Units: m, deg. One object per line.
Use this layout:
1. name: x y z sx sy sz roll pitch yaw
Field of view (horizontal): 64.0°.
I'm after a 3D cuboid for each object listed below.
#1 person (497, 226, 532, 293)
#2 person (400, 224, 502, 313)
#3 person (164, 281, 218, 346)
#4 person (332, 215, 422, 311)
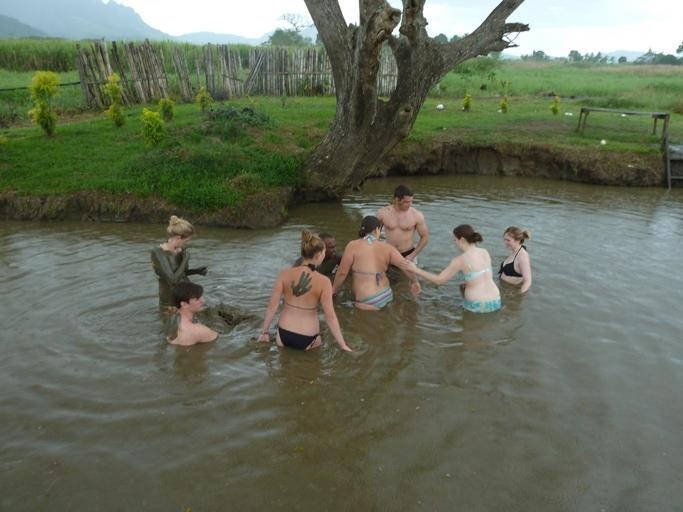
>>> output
1. person: 3.744 0.136 11.771 0.499 1.380 0.982 -1 23 3
2. person: 2.265 0.333 11.372 1.106 1.456 0.731 -23 34 -21
3. person: -2.686 0.913 9.899 0.866 1.198 0.987 -6 18 -24
4. person: 0.792 0.220 11.120 1.282 2.471 0.895 -13 56 -5
